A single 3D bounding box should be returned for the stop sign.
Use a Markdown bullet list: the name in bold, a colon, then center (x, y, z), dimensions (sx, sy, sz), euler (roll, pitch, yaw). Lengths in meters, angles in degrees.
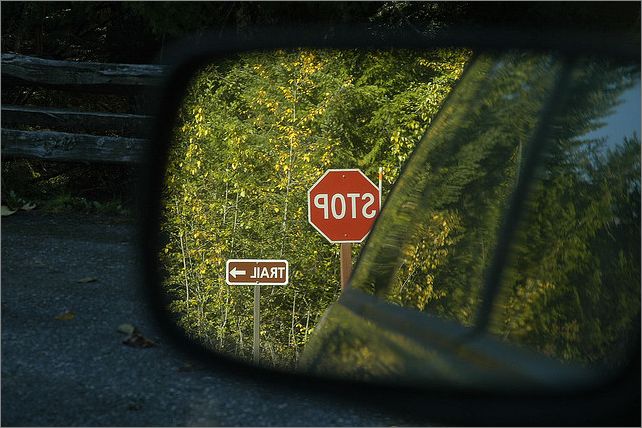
- **stop sign**: center (0.206, -0.086, 7.032), dimensions (0.683, 0.074, 0.672), euler (-1, 89, -16)
